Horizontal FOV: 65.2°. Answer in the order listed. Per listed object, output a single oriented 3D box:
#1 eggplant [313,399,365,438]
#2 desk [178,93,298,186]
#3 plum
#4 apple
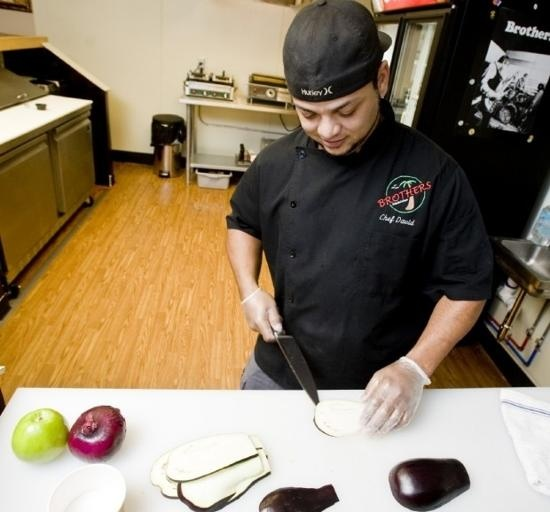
[{"bbox_3d":[0.156,0.375,1.010,0.080,0.064,0.108,8,19,3],"label":"eggplant"},{"bbox_3d":[-0.509,-1.418,5.003,1.561,1.194,0.854,4,30,-5],"label":"desk"},{"bbox_3d":[-0.365,0.341,0.909,0.099,0.091,0.117,4,26,-44],"label":"plum"},{"bbox_3d":[-0.458,0.351,0.865,0.088,0.107,0.094,2,7,5],"label":"apple"}]
